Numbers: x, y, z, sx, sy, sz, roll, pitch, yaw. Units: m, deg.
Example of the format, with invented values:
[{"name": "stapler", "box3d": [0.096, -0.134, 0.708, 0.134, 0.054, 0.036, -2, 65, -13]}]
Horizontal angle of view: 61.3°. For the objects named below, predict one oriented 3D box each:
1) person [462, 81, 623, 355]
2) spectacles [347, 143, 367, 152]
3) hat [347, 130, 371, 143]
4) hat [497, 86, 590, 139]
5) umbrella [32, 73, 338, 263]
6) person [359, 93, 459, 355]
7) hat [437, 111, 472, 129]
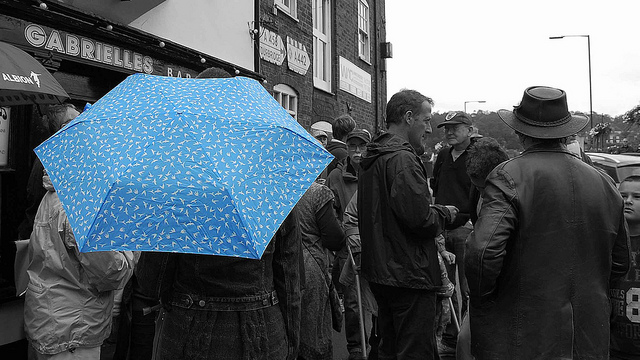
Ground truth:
[{"name": "person", "box3d": [2.168, 0.417, 5.262, 1.497, 2.666, 0.426, 0, 2, -6]}, {"name": "spectacles", "box3d": [0.548, -0.488, 7.957, 0.299, 0.110, 0.088, 1, 2, 26]}, {"name": "hat", "box3d": [0.581, -0.646, 7.957, 0.325, 0.192, 0.299, 1, 2, 4]}, {"name": "hat", "box3d": [2.290, -0.757, 5.551, 0.929, 0.358, 0.978, 2, 22, 13]}, {"name": "umbrella", "box3d": [-1.109, -0.132, 4.355, 2.136, 1.428, 0.517, 1, 2, -1]}, {"name": "person", "box3d": [0.967, 0.551, 6.189, 1.001, 3.145, 0.585, 1, 2, 29]}, {"name": "hat", "box3d": [2.194, -0.981, 8.672, 0.499, 0.246, 0.482, 1, 2, 15]}]
